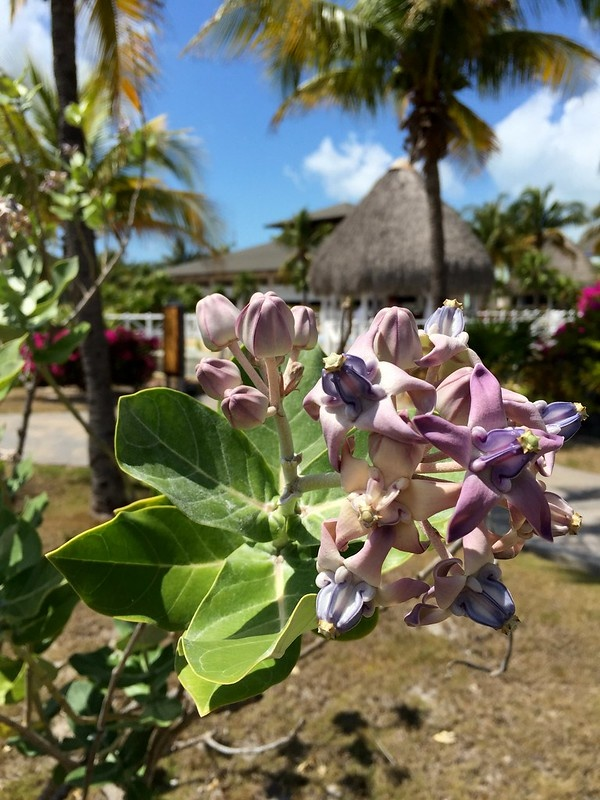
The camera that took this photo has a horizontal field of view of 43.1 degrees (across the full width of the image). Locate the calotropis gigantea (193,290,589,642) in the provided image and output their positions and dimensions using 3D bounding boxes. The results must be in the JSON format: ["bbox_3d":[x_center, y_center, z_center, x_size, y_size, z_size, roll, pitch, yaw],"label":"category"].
[{"bbox_3d":[0.138,0.141,1.206,0.395,0.601,0.601,-4,12,-28],"label":"calotropis gigantea"}]
